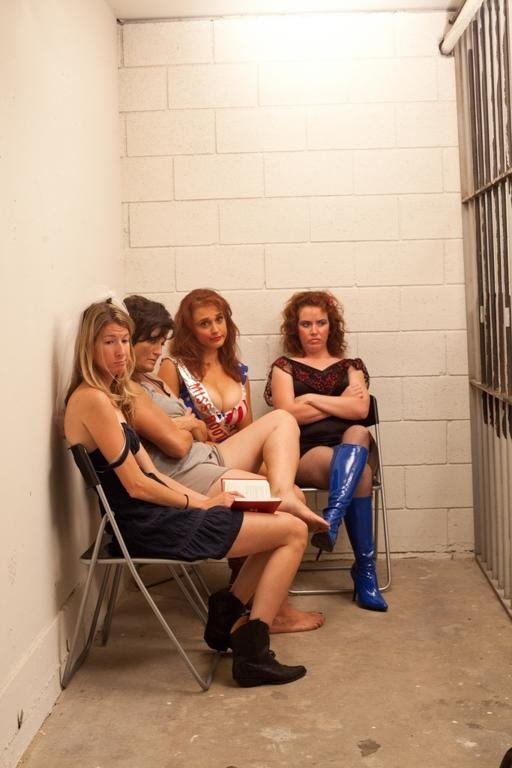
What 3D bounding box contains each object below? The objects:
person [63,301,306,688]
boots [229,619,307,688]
[{"bbox_3d":[-0.234,0.353,2.370,0.784,1.297,0.424,-2,2,-15],"label":"person"},{"bbox_3d":[0.001,0.886,2.326,0.324,0.237,0.131,0,0,-10],"label":"boots"}]
